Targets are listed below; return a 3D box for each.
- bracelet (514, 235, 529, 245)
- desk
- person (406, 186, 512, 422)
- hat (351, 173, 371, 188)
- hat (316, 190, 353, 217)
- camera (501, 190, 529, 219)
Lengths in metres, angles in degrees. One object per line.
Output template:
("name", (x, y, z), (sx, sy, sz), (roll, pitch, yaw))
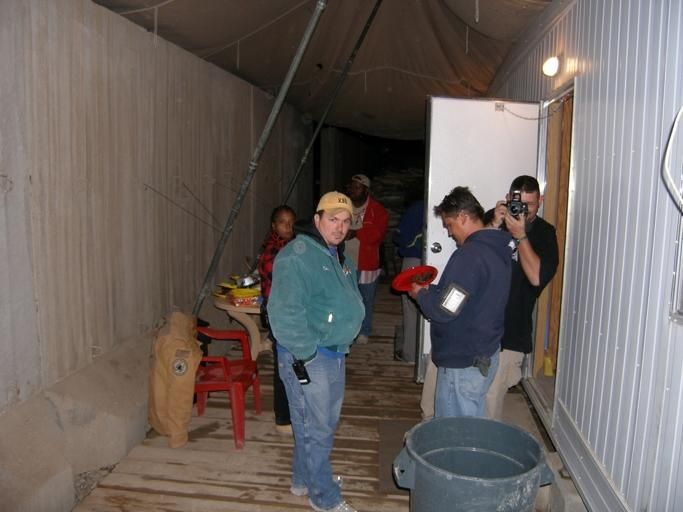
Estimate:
("bracelet", (1.179, -0.128, 4.089), (0.054, 0.035, 0.058), (-15, 8, 42))
("desk", (-0.889, 0.752, 5.905), (0.594, 0.779, 0.657), (-5, 12, -20))
("person", (0.696, 0.329, 3.741), (0.545, 1.496, 0.559), (10, 16, 31))
("hat", (0.209, -0.831, 6.466), (0.146, 0.153, 0.332), (7, 15, 21))
("hat", (-0.045, -0.345, 3.749), (0.208, 0.144, 0.165), (2, 14, 1))
("camera", (1.130, -0.358, 4.046), (0.154, 0.178, 0.161), (1, 5, 9))
